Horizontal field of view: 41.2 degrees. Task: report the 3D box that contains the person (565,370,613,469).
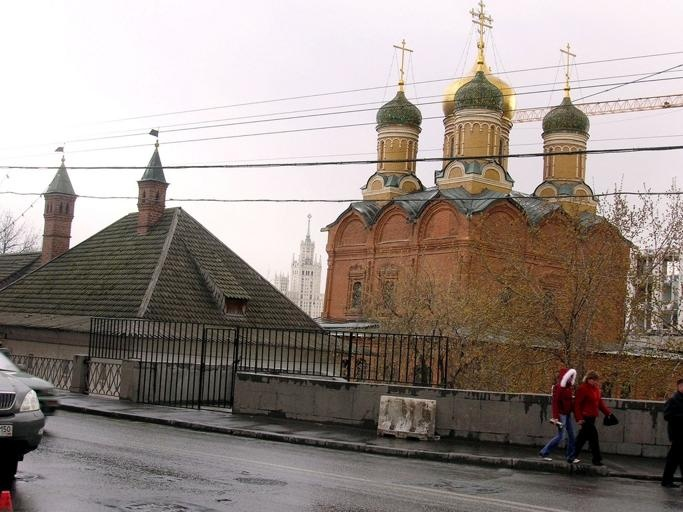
[{"bbox_3d":[5.453,3.538,19.746,0.813,1.935,1.496,-2,-12,16],"label":"person"}]
